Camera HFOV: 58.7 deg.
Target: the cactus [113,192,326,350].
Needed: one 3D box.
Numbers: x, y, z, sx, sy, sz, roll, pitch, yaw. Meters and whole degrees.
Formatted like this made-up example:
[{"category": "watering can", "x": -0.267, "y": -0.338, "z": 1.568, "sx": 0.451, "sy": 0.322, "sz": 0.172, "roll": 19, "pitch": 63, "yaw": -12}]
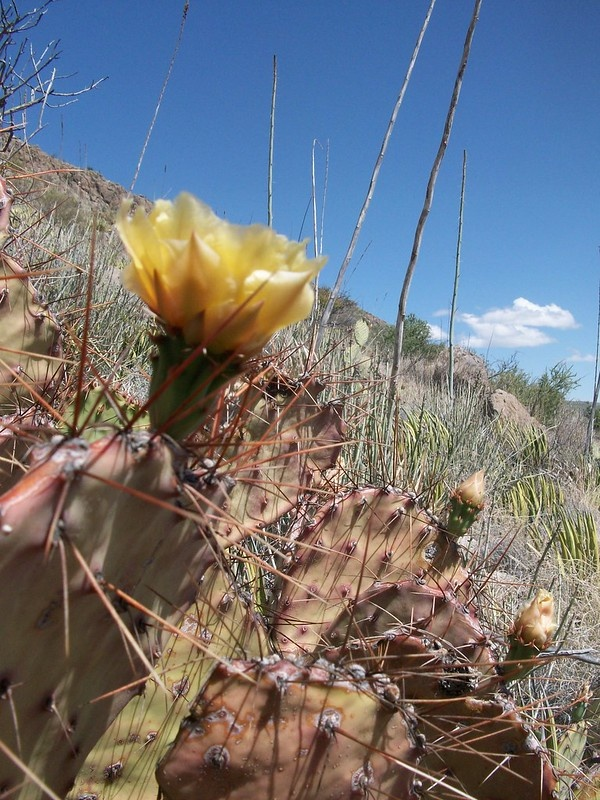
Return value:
[{"category": "cactus", "x": -0.106, "y": -0.106, "z": 0.493, "sx": 0.197, "sy": 0.115, "sz": 0.197, "roll": 3, "pitch": 2, "yaw": 31}]
